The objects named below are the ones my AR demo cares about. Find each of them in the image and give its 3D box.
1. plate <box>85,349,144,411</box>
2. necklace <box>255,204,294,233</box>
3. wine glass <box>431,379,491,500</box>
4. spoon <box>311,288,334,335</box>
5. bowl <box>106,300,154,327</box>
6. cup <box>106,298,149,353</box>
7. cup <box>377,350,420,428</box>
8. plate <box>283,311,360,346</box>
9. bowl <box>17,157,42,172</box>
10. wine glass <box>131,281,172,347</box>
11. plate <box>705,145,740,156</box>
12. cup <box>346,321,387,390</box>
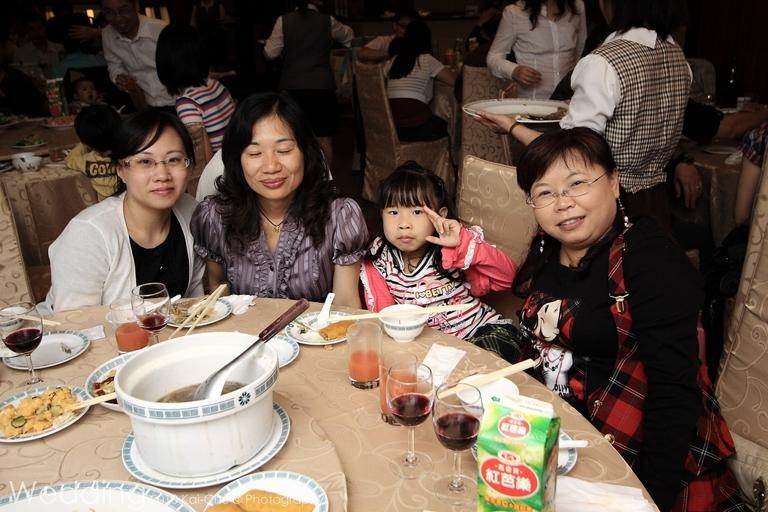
[{"bbox_3d":[-0.800,0.359,1.553,0.205,0.045,0.211,1,21,-1],"label":"plate"},{"bbox_3d":[-0.483,-0.163,2.289,0.097,0.140,0.034,0,22,-2],"label":"necklace"},{"bbox_3d":[0.182,0.417,1.311,0.116,0.182,0.320,3,26,8],"label":"wine glass"},{"bbox_3d":[-0.213,0.186,1.790,0.049,0.025,0.149,11,55,7],"label":"spoon"},{"bbox_3d":[-0.862,0.184,1.752,0.112,0.082,0.112,0,1,0],"label":"bowl"},{"bbox_3d":[-0.824,0.224,1.687,0.109,0.167,0.100,-22,-7,-3],"label":"cup"},{"bbox_3d":[0.036,0.352,1.371,0.131,0.214,0.129,-1,18,0],"label":"cup"},{"bbox_3d":[-0.237,0.250,1.747,0.128,0.022,0.130,10,33,16],"label":"plate"},{"bbox_3d":[-2.286,-0.601,3.386,0.105,0.052,0.107,3,17,-1],"label":"bowl"},{"bbox_3d":[-0.767,0.195,1.721,0.085,0.212,0.086,-28,44,-36],"label":"wine glass"},{"bbox_3d":[2.030,-0.632,3.143,0.117,0.026,0.119,-9,22,-21],"label":"plate"},{"bbox_3d":[-0.058,0.285,1.529,0.158,0.246,0.154,0,1,0],"label":"cup"}]
